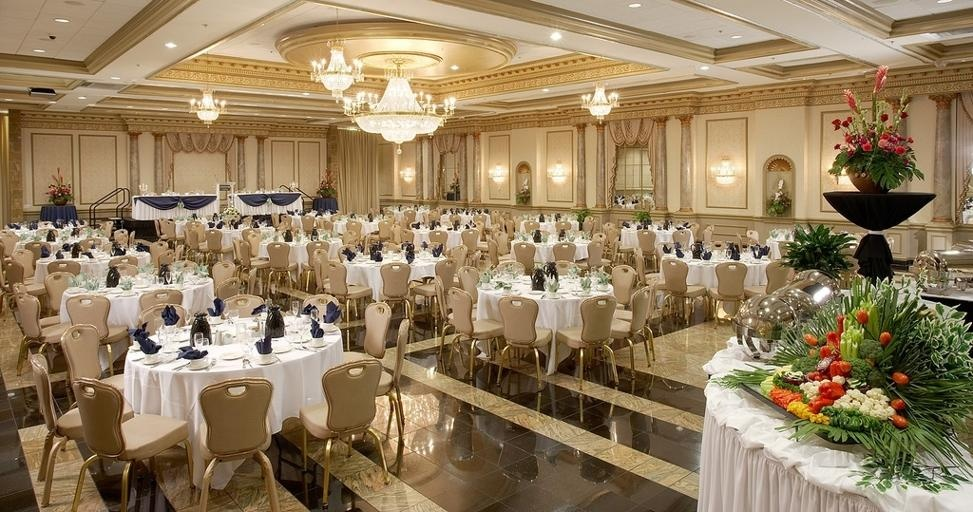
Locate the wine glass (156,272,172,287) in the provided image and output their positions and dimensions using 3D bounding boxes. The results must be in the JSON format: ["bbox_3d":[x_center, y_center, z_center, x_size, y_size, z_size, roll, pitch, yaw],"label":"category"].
[{"bbox_3d":[-5.815,0.411,10.236,0.239,0.255,0.234,0,-5,7],"label":"wine glass"}]

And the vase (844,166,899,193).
[{"bbox_3d":[4.350,-0.830,6.492,0.371,0.170,0.360,2,3,-21],"label":"vase"}]

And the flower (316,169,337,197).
[{"bbox_3d":[-7.534,-3.326,26.790,1.074,1.408,1.101,0,4,11],"label":"flower"}]

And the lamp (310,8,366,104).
[{"bbox_3d":[-3.195,-4.271,12.093,1.139,1.772,1.102,-4,17,-22],"label":"lamp"}]

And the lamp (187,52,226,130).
[{"bbox_3d":[-7.635,-4.558,15.582,0.994,1.926,0.942,4,11,-1],"label":"lamp"}]

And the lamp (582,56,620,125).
[{"bbox_3d":[2.861,-3.860,14.280,0.901,1.088,0.851,-7,8,-38],"label":"lamp"}]

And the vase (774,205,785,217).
[{"bbox_3d":[8.748,-1.338,16.895,0.307,0.267,0.326,0,1,-7],"label":"vase"}]

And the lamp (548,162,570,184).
[{"bbox_3d":[2.955,-3.143,22.173,1.010,0.986,0.746,1,2,37],"label":"lamp"}]

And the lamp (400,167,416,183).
[{"bbox_3d":[-3.721,-3.839,26.943,0.755,0.737,0.252,8,13,37],"label":"lamp"}]

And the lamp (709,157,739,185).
[{"bbox_3d":[7.578,-2.651,18.077,0.768,0.735,0.749,-1,2,-30],"label":"lamp"}]

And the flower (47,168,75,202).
[{"bbox_3d":[-16.040,-2.585,21.267,0.784,1.426,1.265,-6,7,-37],"label":"flower"}]
